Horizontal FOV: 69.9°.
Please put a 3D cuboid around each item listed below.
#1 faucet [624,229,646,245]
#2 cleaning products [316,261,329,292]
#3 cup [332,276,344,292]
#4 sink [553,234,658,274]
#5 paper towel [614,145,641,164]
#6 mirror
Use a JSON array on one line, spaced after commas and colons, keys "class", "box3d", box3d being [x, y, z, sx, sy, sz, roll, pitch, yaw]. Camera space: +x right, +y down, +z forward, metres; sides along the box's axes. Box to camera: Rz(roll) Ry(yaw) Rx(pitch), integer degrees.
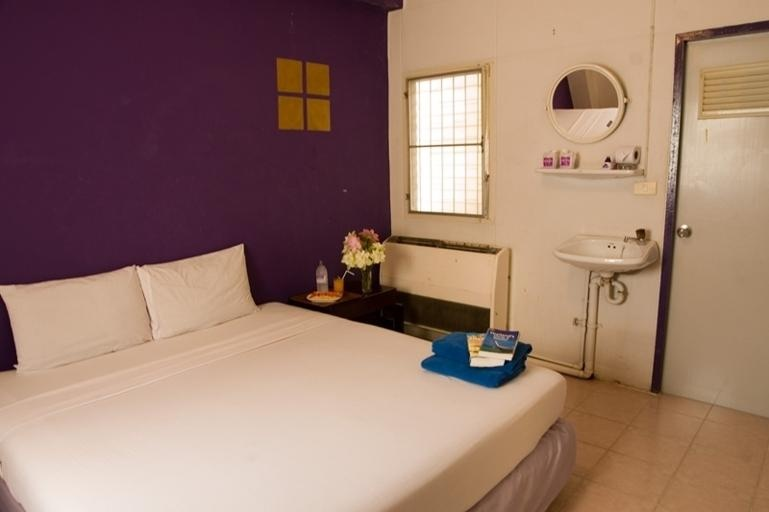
[{"class": "faucet", "box3d": [1.981, -0.143, 4.361, 0.095, 0.120, 0.156, 10, -22, -36]}, {"class": "cleaning products", "box3d": [-0.555, 0.190, 4.911, 0.124, 0.282, 0.425, -3, 13, -6]}, {"class": "cup", "box3d": [-0.399, 0.252, 4.931, 0.116, 0.130, 0.110, 0, 9, 0]}, {"class": "sink", "box3d": [1.725, 0.021, 4.308, 0.721, 0.303, 0.464, 7, 16, 32]}, {"class": "paper towel", "box3d": [1.853, -0.769, 4.205, 0.168, 0.161, 0.138, 3, 30, 45]}, {"class": "mirror", "box3d": [1.653, -1.226, 4.415, 0.604, 0.649, 0.066, 8, 17, 39]}]
